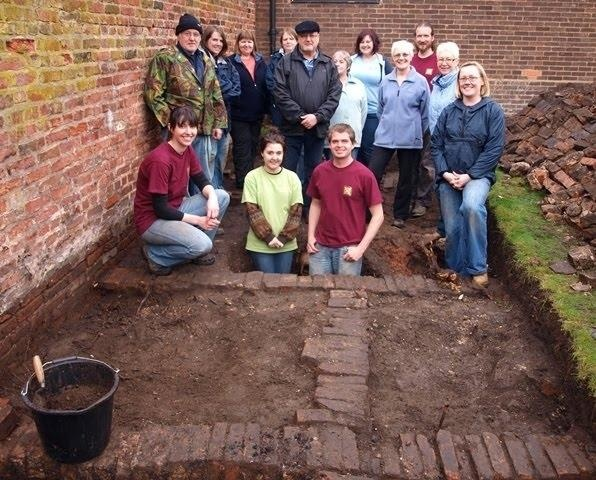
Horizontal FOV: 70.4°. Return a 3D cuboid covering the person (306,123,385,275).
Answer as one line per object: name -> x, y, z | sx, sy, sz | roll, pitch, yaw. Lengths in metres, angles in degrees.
person -> 0.500, -0.360, 4.557 | 0.807, 1.659, 0.693 | 3, 27, 1

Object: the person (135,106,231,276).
person -> -1.166, -0.491, 4.445 | 0.947, 1.721, 0.907 | -2, 24, -23

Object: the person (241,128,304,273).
person -> -0.311, -0.290, 4.853 | 0.668, 1.744, 0.868 | 15, 30, 24

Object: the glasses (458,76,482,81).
glasses -> 1.762, -1.688, 4.383 | 0.202, 0.063, 0.087 | 13, 30, 18

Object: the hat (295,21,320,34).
hat -> 0.113, -2.673, 5.290 | 0.265, 0.161, 0.241 | 0, 29, -4

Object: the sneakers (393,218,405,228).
sneakers -> 1.424, -0.241, 6.025 | 0.110, 0.153, 0.140 | -1, 60, 8

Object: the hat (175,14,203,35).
hat -> -1.234, -2.477, 4.901 | 0.252, 0.226, 0.263 | -3, 1, -11

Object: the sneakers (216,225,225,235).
sneakers -> -1.045, -0.136, 5.798 | 0.077, 0.037, 0.114 | 2, 34, 0

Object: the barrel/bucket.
barrel/bucket -> -1.382, 1.104, 2.697 | 0.527, 0.479, 0.573 | 8, 19, -3
